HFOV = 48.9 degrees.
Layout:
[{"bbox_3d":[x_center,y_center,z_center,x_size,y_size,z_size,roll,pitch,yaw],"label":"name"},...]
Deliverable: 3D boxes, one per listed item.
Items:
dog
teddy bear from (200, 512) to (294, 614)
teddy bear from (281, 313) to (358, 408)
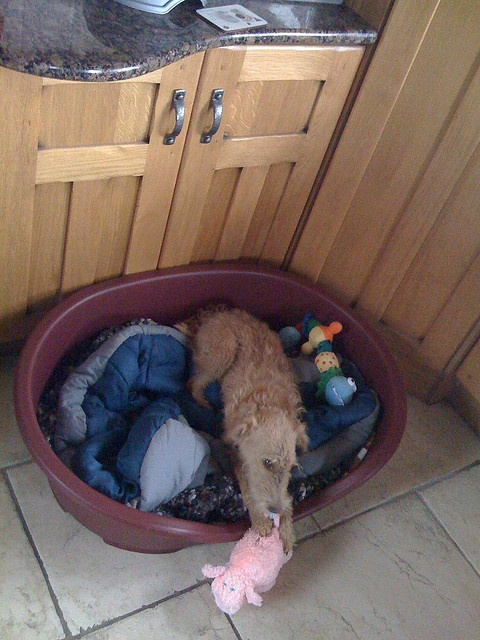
[{"bbox_3d":[0.013,0.217,1.432,0.249,0.248,0.687,1,45,-22],"label":"dog"},{"bbox_3d":[0.019,0.543,1.178,0.132,0.085,0.220,28,45,16],"label":"teddy bear"},{"bbox_3d":[0.251,0.120,1.634,0.192,0.104,0.285,-24,62,3],"label":"teddy bear"}]
